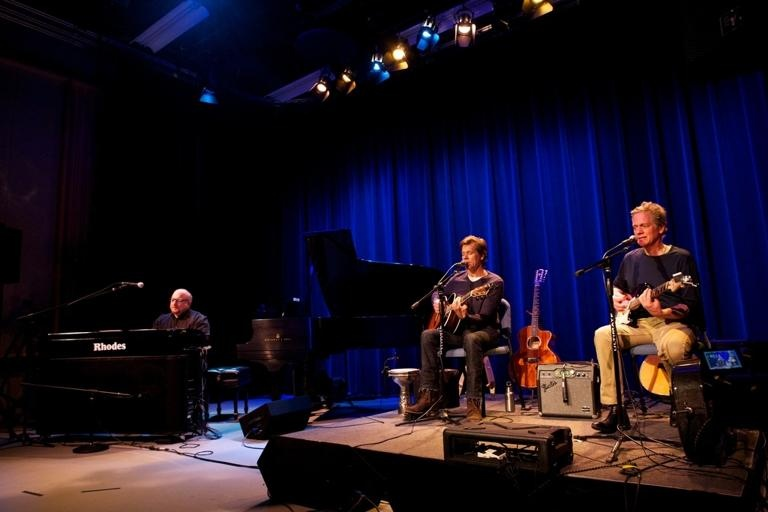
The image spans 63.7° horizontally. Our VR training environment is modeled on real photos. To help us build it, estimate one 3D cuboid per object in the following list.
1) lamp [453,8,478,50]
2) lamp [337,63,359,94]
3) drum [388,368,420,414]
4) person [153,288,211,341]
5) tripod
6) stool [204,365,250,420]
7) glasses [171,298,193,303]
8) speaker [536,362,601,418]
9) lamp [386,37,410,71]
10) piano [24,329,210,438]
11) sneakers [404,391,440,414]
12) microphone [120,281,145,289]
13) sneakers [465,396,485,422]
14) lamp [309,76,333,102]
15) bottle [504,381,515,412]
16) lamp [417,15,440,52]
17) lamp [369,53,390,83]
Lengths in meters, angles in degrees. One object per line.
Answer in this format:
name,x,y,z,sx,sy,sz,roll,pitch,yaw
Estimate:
lamp,1.083,-3.014,8.219,0.276,0.471,0.142,-1,9,6
lamp,-0.568,-2.619,9.176,0.175,0.336,0.276,8,-15,-44
drum,0.305,1.592,7.309,0.502,0.582,0.493,-3,-9,15
person,-2.856,0.818,8.585,0.806,0.648,0.421,-4,-20,4
tripod,0.546,1.224,6.974,0.684,1.197,0.426,-3,-10,5
stool,-2.161,1.873,8.480,0.616,0.621,0.752,-3,-5,1
glasses,-2.728,0.608,8.354,0.271,0.069,0.126,7,-14,-38
speaker,1.969,1.384,6.824,0.766,0.703,0.562,-4,-10,25
lamp,0.181,-2.796,8.535,0.299,0.360,0.352,8,10,35
piano,-3.058,1.551,7.594,2.012,1.180,1.389,-2,-8,12
sneakers,0.428,1.610,6.829,0.386,0.253,0.210,-3,-11,9
microphone,-3.450,0.393,8.436,0.318,0.083,0.093,4,14,24
sneakers,0.988,1.646,6.684,0.192,0.221,0.188,-3,-11,5
lamp,-0.941,-2.496,9.280,0.256,0.350,0.153,31,29,-9
bottle,1.458,1.632,7.172,0.105,0.339,0.287,-4,-11,11
lamp,0.590,-3.031,8.497,0.302,0.401,0.273,-2,-10,3
lamp,-0.036,-2.703,8.787,0.252,0.331,0.435,4,-12,-27
